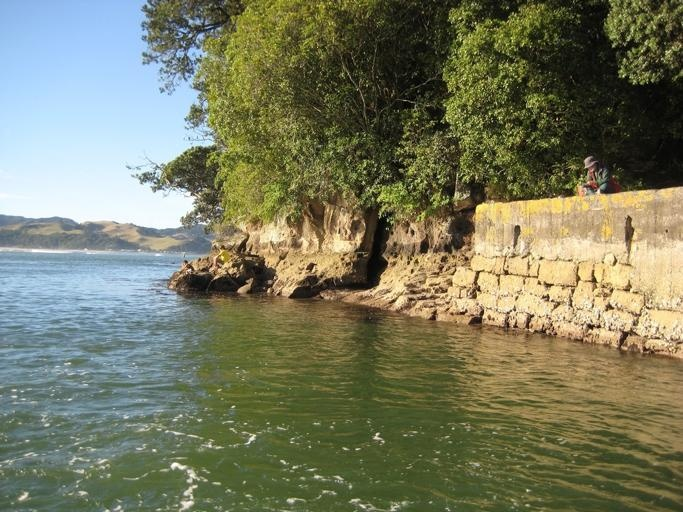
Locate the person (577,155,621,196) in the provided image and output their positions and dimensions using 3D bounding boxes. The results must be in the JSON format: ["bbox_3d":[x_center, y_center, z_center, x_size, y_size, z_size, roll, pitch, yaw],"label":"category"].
[{"bbox_3d":[8.773,-2.722,18.608,1.108,1.305,1.360,1,8,7],"label":"person"}]

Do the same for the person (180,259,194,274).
[{"bbox_3d":[-12.268,0.848,43.443,0.804,0.954,2.753,1,10,-29],"label":"person"}]
